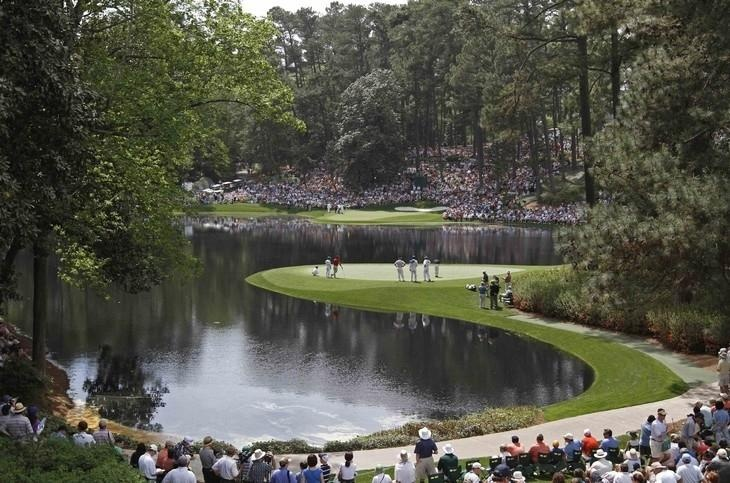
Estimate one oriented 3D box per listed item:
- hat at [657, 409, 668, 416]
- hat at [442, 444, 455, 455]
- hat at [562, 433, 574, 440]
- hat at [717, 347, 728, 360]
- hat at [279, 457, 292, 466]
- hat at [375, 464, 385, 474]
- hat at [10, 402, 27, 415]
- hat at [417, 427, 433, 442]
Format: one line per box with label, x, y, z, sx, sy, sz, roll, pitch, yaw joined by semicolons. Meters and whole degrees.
hat;14.392;8.271;57.364;0.520;0.239;0.745;-3;-8;9
hat;3.926;9.847;55.854;0.546;0.220;0.613;2;15;-3
hat;9.738;9.391;56.819;0.461;0.247;0.347;-1;-2;31
hat;18.669;5.904;61.861;0.228;0.671;0.726;21;-14;28
hat;-3.620;10.200;54.457;0.446;0.247;0.700;-2;14;25
hat;0.651;10.495;54.323;0.377;0.419;0.377;0;4;22
hat;-16.714;8.043;56.742;0.679;0.261;0.624;0;2;40
hat;2.800;9.070;56.008;0.675;0.296;0.755;-6;32;-5
